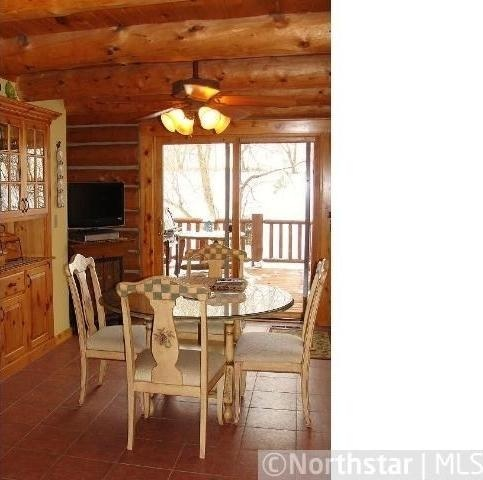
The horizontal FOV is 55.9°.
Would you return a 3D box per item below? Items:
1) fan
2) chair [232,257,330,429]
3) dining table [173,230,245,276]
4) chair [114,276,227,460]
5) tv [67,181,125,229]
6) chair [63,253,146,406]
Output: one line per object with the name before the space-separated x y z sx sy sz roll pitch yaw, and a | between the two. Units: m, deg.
fan | -0.335 -1.115 3.517 0.863 0.330 0.855 -3 3 -9
chair | 0.250 0.646 3.054 0.591 1.076 0.402 1 7 3
dining table | -0.385 0.123 5.255 0.621 0.677 0.503 1 -2 3
chair | -0.434 0.684 2.791 0.649 1.042 0.751 1 7 1
tv | -1.628 -0.400 5.068 0.069 0.509 0.682 7 9 41
chair | -0.932 0.642 3.324 0.603 1.010 0.558 2 5 4
